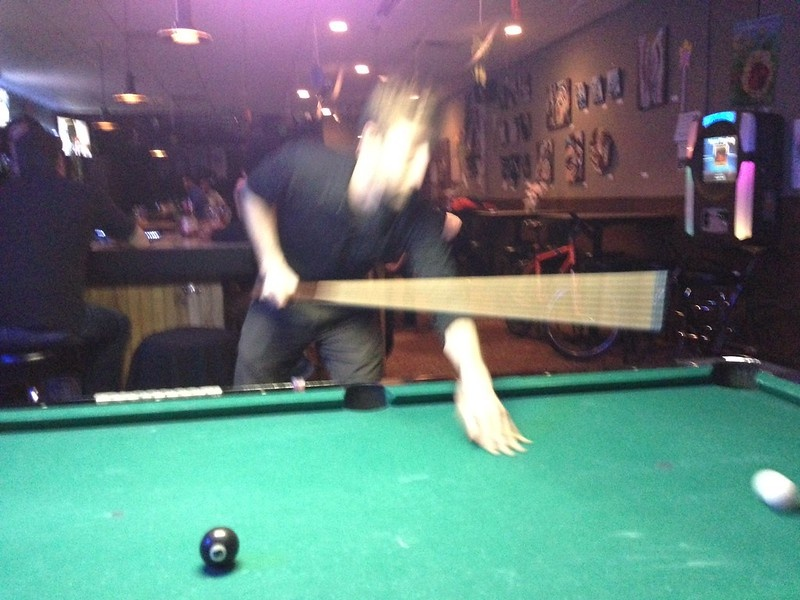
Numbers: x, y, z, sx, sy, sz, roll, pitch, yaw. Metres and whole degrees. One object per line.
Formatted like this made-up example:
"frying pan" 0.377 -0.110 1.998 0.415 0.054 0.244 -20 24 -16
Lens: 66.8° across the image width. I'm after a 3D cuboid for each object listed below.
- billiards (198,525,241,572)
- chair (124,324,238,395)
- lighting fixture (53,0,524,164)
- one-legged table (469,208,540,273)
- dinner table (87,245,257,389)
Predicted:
"billiards" -0.377 0.520 1.272 0.062 0.069 0.084 -4 7 -5
"chair" -1.148 0.304 3.260 0.559 0.310 0.434 0 7 -19
"lighting fixture" -0.903 -1.539 4.162 2.968 0.313 1.161 -13 -36 -13
"one-legged table" 0.851 -0.565 5.329 0.786 0.481 0.597 0 15 2
"dinner table" -1.260 0.121 3.501 0.766 0.820 0.780 0 5 -10
